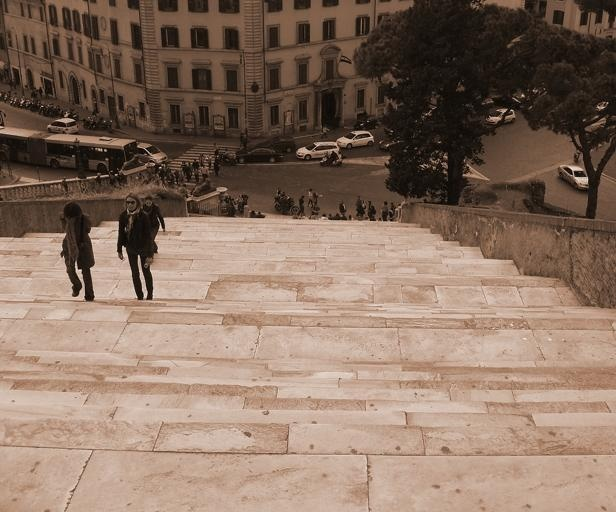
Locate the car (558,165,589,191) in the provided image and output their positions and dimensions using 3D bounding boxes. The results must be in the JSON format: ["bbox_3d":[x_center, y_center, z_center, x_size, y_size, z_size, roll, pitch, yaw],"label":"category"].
[{"bbox_3d":[18.985,-5.486,40.145,1.365,0.898,3.043,-7,35,-9],"label":"car"}]

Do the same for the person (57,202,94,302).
[{"bbox_3d":[-3.804,-0.051,9.302,0.510,1.642,1.161,-10,18,-24],"label":"person"}]

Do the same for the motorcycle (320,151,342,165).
[{"bbox_3d":[1.786,-7.487,43.350,1.492,0.987,0.961,-2,35,-9],"label":"motorcycle"}]

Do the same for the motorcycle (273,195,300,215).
[{"bbox_3d":[-1.436,-3.189,34.851,1.571,0.996,0.996,21,28,23],"label":"motorcycle"}]

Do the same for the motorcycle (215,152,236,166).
[{"bbox_3d":[-6.363,-7.399,43.117,1.470,0.767,1.925,3,1,-9],"label":"motorcycle"}]

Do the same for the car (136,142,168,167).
[{"bbox_3d":[-11.590,-7.541,41.724,2.088,1.464,2.855,-7,17,-15],"label":"car"}]

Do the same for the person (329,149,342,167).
[{"bbox_3d":[2.096,-7.566,43.302,0.852,0.566,1.234,13,48,9],"label":"person"}]

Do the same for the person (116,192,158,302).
[{"bbox_3d":[-2.775,-0.116,9.169,0.486,1.736,0.732,-13,19,-31],"label":"person"}]
